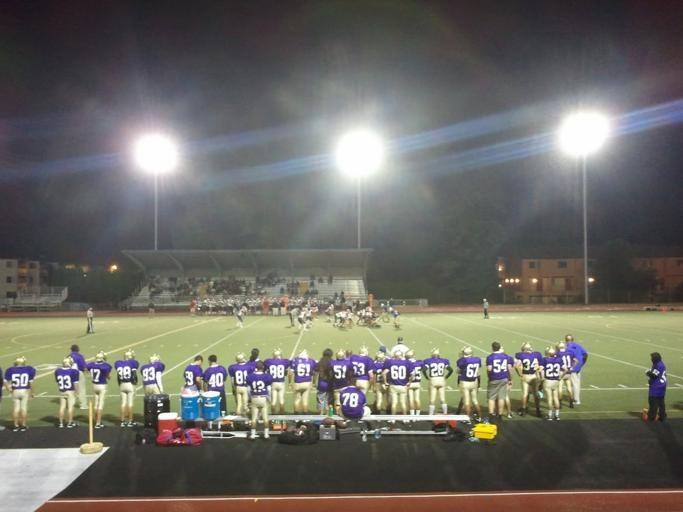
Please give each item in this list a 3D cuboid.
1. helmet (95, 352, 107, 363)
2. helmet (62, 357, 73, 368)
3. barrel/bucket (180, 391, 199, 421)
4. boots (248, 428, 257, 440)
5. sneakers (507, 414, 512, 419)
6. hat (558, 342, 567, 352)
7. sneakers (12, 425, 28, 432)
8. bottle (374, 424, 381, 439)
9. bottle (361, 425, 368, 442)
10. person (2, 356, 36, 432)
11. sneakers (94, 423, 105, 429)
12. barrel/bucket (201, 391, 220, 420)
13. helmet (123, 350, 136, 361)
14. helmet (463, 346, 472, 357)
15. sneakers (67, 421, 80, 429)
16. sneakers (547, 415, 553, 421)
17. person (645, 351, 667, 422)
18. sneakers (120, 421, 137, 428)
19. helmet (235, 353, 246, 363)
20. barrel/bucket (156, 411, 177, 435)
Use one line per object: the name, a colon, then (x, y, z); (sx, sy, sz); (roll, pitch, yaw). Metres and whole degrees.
helmet: (-9.329, 3.943, 24.607); (0.332, 0.403, 0.430); (2, 0, -10)
helmet: (-10.507, 4.094, 24.307); (0.315, 0.331, 0.399); (15, -9, -23)
barrel/bucket: (-5.659, 5.614, 23.689); (0.978, 1.100, 0.989); (0, -7, 0)
boots: (-3.293, 6.597, 23.447); (0.342, 0.384, 0.190); (1, -10, -9)
sneakers: (6.537, 6.256, 24.691); (0.140, 0.157, 0.139); (-5, 0, 1)
hat: (8.842, 3.666, 25.337); (0.282, 0.368, 0.373); (6, -3, 5)
sneakers: (-12.211, 6.551, 24.064); (0.524, 0.192, 0.224); (-1, 15, 3)
bottle: (1.327, 6.592, 23.563); (0.262, 0.366, 0.232); (0, -10, -3)
bottle: (0.821, 6.612, 23.483); (0.399, 0.727, 0.409); (-1, -4, 0)
person: (-12.444, 5.284, 24.391); (0.934, 2.748, 1.337); (4, -11, -27)
sneakers: (-9.259, 6.498, 24.184); (0.188, 0.127, 0.456); (7, -4, -8)
barrel/bucket: (-4.769, 5.640, 23.984); (0.984, 0.944, 0.879); (0, -7, -5)
helmet: (-8.210, 3.797, 24.500); (0.508, 0.444, 0.499); (1, 6, -16)
helmet: (4.855, 3.668, 24.374); (0.362, 0.317, 0.274); (4, -9, -11)
sneakers: (-10.340, 6.492, 24.293); (0.146, 0.171, 0.435); (9, -12, -1)
sneakers: (8.017, 6.273, 24.538); (0.301, 0.204, 0.102); (-5, 1, 19)
person: (12.033, 4.989, 24.332); (0.762, 2.573, 1.363); (-5, -11, 25)
sneakers: (-8.206, 6.474, 24.319); (0.630, 0.248, 0.231); (2, -3, -9)
helmet: (-3.836, 3.850, 24.113); (0.352, 0.416, 0.436); (3, 37, 1)
barrel/bucket: (-6.440, 6.211, 23.534); (0.712, 0.692, 0.714); (0, -3, 0)
